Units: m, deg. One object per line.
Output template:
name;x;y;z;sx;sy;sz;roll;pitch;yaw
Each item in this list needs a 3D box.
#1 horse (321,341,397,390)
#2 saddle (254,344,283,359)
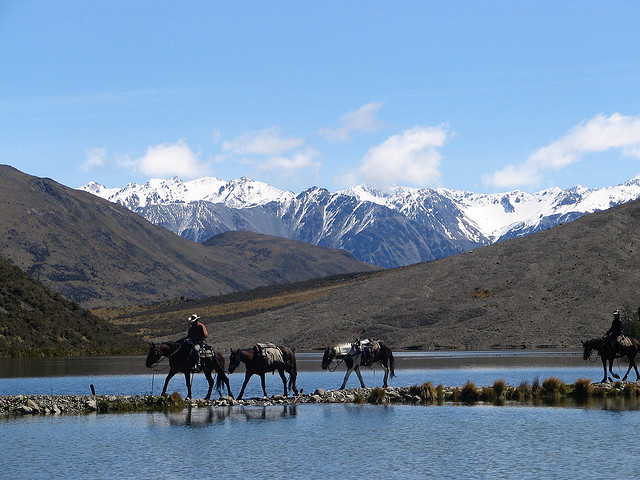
horse;2.961;9.468;84.031;6.132;3.616;1.440;-1;1;-22
saddle;-3.668;7.845;78.710;1.313;1.168;0.503;4;-2;-10
